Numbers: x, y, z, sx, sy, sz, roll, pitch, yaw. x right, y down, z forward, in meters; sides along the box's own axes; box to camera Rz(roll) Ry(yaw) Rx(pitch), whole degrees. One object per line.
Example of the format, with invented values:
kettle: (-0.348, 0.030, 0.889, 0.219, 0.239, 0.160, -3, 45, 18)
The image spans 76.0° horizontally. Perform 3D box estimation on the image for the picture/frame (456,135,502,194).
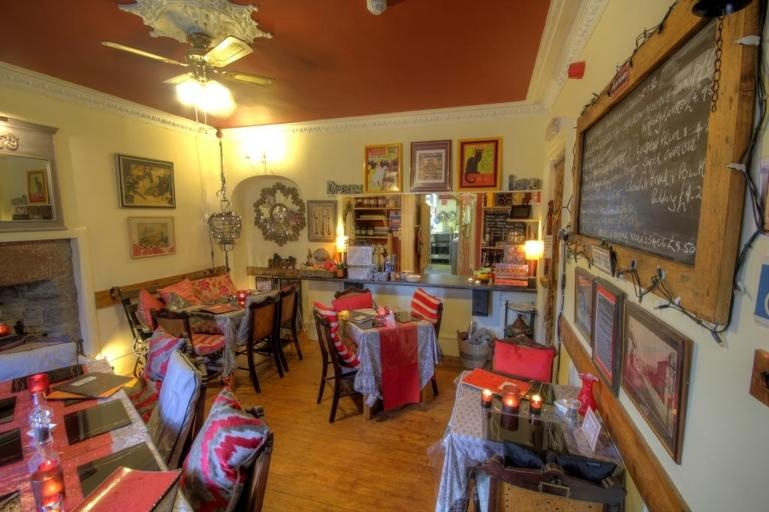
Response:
picture/frame: (1.238, -1.221, 6.348, 0.672, 0.858, 0.064, 2, 5, 24)

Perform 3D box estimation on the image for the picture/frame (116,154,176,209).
picture/frame: (-3.070, -0.942, 6.339, 0.041, 0.656, 0.802, -2, 2, 25)

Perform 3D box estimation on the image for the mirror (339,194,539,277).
mirror: (1.170, -0.327, 8.234, 2.657, 1.542, 3.971, 0, 8, 19)

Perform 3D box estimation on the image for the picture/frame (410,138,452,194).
picture/frame: (0.633, -1.235, 6.535, 0.649, 0.830, 0.060, 3, 9, 23)

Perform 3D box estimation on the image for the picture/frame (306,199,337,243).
picture/frame: (-0.918, -0.545, 7.228, 0.570, 0.750, 0.053, 3, 10, 16)

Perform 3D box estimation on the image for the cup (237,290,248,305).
cup: (-1.773, 0.511, 6.117, 0.183, 0.238, 0.190, 0, -2, 0)

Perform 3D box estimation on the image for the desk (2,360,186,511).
desk: (-1.978, 1.013, 3.202, 0.659, 0.244, 0.969, -8, 21, -42)

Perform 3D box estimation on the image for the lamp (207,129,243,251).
lamp: (-2.272, -0.849, 6.828, 0.446, 1.721, 1.632, -5, 8, -20)

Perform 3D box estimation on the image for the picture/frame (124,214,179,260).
picture/frame: (-3.069, -0.253, 6.366, 0.037, 0.515, 0.541, 3, 8, 25)

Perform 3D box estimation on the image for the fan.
fan: (-1.656, -1.739, 4.412, 0.981, 0.500, 1.152, 2, 3, 38)

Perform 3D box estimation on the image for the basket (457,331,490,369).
basket: (1.117, 1.131, 6.112, 0.372, 0.419, 0.423, 0, 1, 16)

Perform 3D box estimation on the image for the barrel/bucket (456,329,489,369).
barrel/bucket: (1.117, 1.129, 6.126, 0.398, 0.433, 0.433, 0, 0, 0)

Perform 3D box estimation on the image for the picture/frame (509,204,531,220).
picture/frame: (1.765, -0.558, 6.385, 0.312, 0.279, 0.166, 1, 1, 25)

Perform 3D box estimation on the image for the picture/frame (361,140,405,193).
picture/frame: (-0.002, -1.253, 6.738, 0.654, 0.829, 0.112, 2, 5, 20)
